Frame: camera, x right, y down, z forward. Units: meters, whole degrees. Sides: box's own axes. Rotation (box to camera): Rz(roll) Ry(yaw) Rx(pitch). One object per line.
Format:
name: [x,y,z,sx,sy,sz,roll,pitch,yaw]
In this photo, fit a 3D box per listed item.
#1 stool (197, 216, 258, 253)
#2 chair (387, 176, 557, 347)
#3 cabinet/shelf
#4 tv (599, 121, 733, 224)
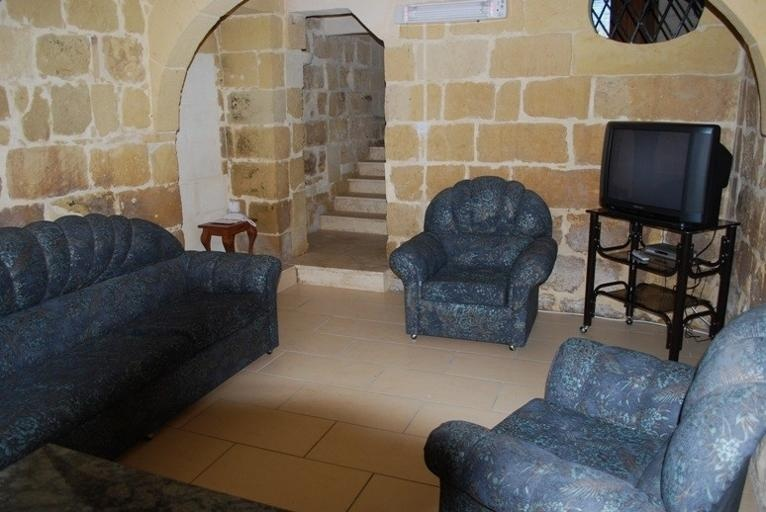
stool: [-1.502,-0.287,5.339,0.377,0.516,0.556,4,17,16]
chair: [0.767,0.090,4.656,1.674,1.562,1.293,5,18,21]
cabinet/shelf: [2.085,0.192,3.973,0.599,1.031,0.871,-16,25,-32]
tv: [2.053,-0.609,3.885,0.396,0.563,0.671,-14,20,-33]
